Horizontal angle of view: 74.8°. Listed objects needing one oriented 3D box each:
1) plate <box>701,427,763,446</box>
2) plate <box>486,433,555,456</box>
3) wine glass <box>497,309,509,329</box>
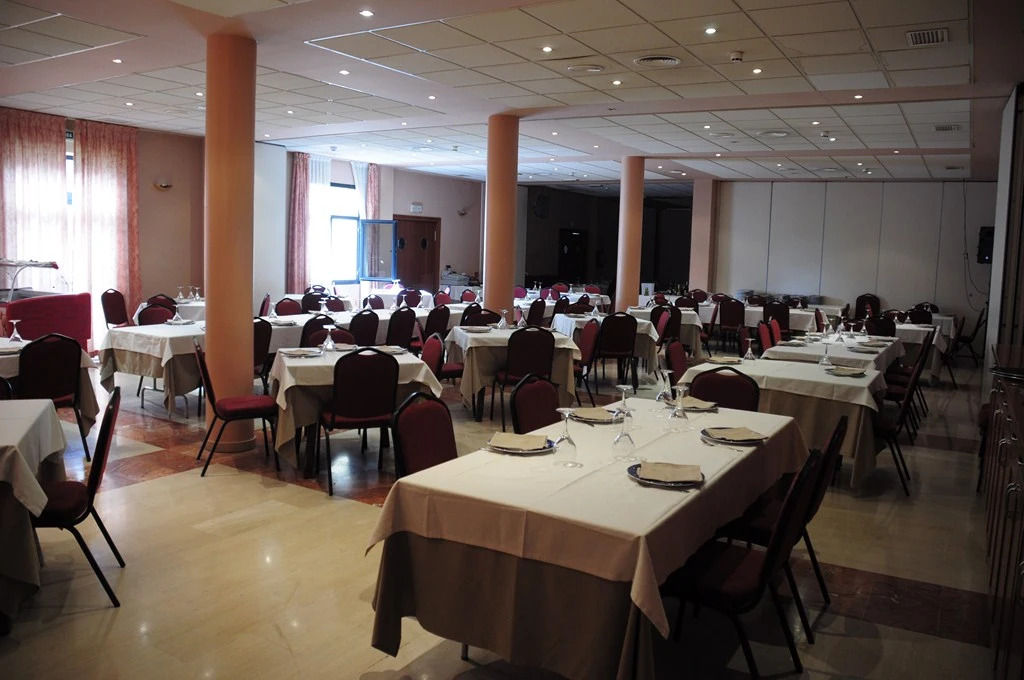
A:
[{"bbox_3d":[1.437,0.618,4.374,0.403,0.069,0.241,2,7,15],"label":"plate"},{"bbox_3d":[0.052,0.605,4.085,0.401,0.086,0.295,0,7,5],"label":"plate"},{"bbox_3d":[-0.127,-0.323,9.087,0.261,0.282,0.286,1,1,-4],"label":"wine glass"}]
